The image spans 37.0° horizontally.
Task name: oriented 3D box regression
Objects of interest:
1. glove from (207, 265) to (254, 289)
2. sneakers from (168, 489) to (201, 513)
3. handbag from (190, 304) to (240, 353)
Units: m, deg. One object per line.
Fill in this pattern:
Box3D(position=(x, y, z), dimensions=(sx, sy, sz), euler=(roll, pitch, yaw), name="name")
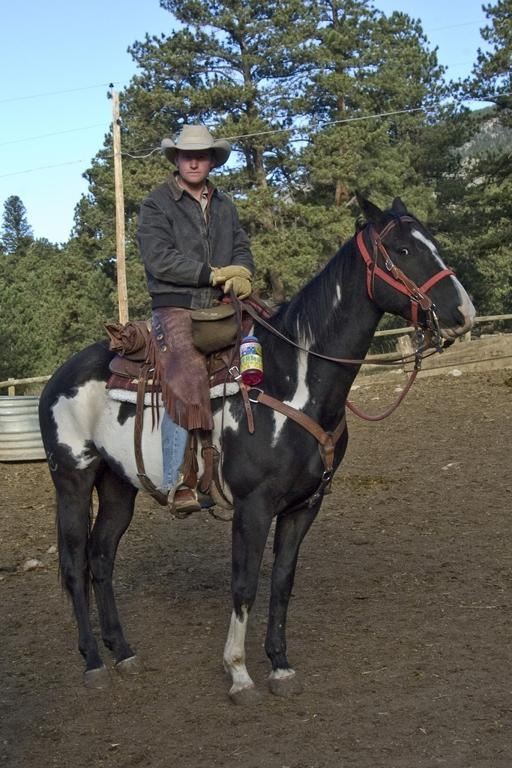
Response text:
Box3D(position=(-0.127, -0.541, 3.933), dimensions=(0.157, 0.056, 0.110), euler=(-9, 38, 0), name="glove")
Box3D(position=(-0.377, 0.604, 3.896), dimensions=(0.086, 0.137, 0.211), euler=(10, -27, -24), name="sneakers")
Box3D(position=(-0.204, -0.267, 3.854), dimensions=(0.199, 0.171, 0.240), euler=(0, 6, 11), name="handbag")
